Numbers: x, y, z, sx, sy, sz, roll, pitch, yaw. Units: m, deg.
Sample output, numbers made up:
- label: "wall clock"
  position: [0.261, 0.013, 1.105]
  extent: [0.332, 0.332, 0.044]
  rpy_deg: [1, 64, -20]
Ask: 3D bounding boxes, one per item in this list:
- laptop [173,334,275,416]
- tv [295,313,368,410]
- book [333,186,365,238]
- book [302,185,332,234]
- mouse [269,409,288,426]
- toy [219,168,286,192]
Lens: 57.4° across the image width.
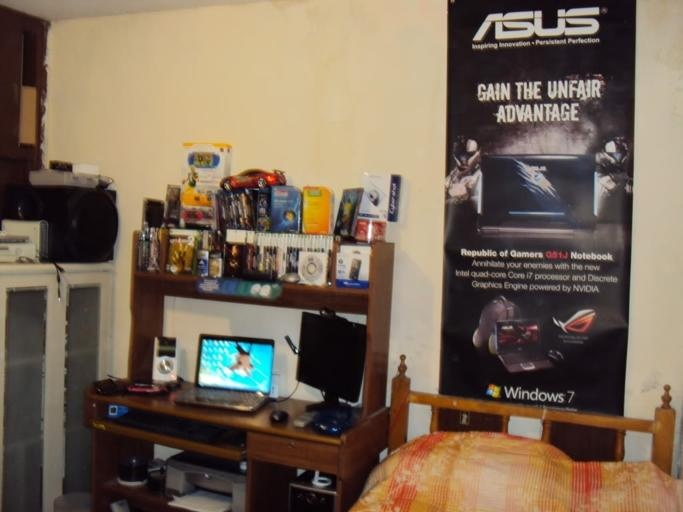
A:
- label: "laptop"
  position: [-0.653, 0.705, 3.836]
  extent: [0.512, 0.382, 0.388]
  rpy_deg: [2, -3, 15]
- label: "tv"
  position: [-0.043, 0.599, 3.612]
  extent: [0.467, 0.598, 0.193]
  rpy_deg: [3, -2, 31]
- label: "book"
  position: [0.044, -0.251, 3.643]
  extent: [0.169, 0.298, 0.127]
  rpy_deg: [2, 2, 0]
- label: "book"
  position: [-0.144, -0.274, 3.724]
  extent: [0.188, 0.290, 0.179]
  rpy_deg: [2, 3, -1]
- label: "mouse"
  position: [-0.348, 0.894, 3.515]
  extent: [0.107, 0.054, 0.127]
  rpy_deg: [1, 3, -6]
- label: "toy"
  position: [-0.523, -0.457, 3.791]
  extent: [0.286, 0.097, 0.185]
  rpy_deg: [3, 10, 20]
